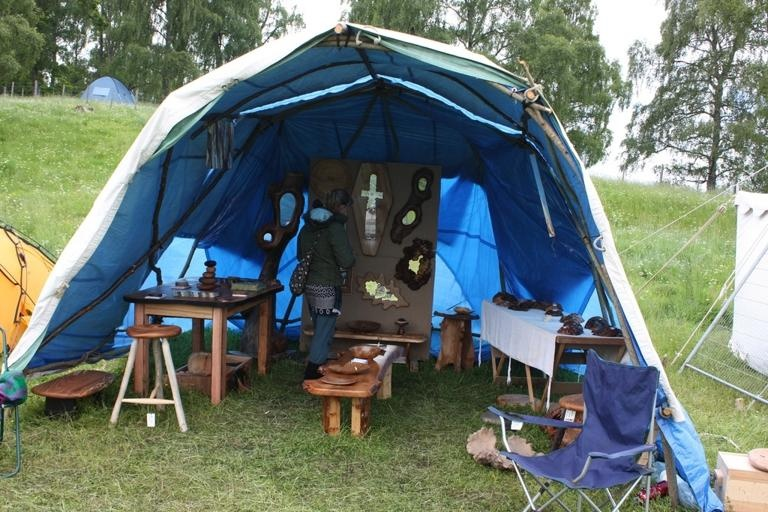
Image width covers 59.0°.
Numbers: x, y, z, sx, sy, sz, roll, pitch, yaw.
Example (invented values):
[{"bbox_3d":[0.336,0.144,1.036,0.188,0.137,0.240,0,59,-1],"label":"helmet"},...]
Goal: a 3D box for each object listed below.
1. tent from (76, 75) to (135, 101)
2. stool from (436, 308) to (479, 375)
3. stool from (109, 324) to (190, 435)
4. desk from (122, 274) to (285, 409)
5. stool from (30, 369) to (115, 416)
[{"bbox_3d":[-11.484,-6.853,28.138,1.428,0.705,1.491,4,10,17],"label":"tent"},{"bbox_3d":[1.124,1.322,10.783,0.640,0.907,0.691,4,-6,-28],"label":"stool"},{"bbox_3d":[-2.925,1.431,8.472,0.868,1.257,1.126,3,8,-28],"label":"stool"},{"bbox_3d":[-2.509,0.693,9.374,1.421,1.481,2.339,2,3,15],"label":"desk"},{"bbox_3d":[-3.872,1.729,8.486,0.612,0.463,0.876,14,10,39],"label":"stool"}]
